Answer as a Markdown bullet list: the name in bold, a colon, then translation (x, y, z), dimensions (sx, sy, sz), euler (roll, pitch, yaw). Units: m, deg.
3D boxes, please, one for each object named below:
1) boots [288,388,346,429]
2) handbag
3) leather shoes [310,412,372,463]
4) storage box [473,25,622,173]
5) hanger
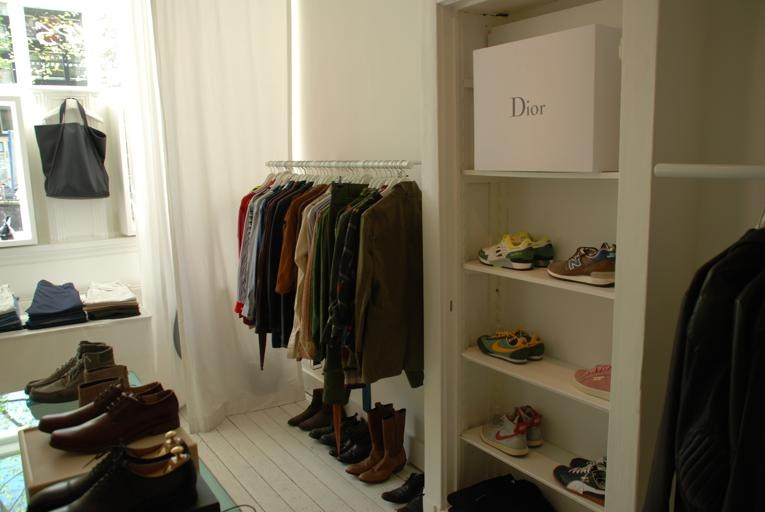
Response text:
- **boots**: translation (-0.411, 1.107, 4.099), dimensions (0.509, 0.362, 0.200), euler (3, -4, -30)
- **handbag**: translation (-2.472, -0.844, 4.443), dimensions (0.476, 0.808, 0.168), euler (-9, 13, -30)
- **leather shoes**: translation (-0.219, 1.163, 3.595), dimensions (0.306, 0.112, 0.241), euler (-4, 7, -44)
- **storage box**: translation (0.743, -0.673, 2.437), dimensions (0.227, 0.629, 0.700), euler (-6, 7, -44)
- **hanger**: translation (-0.264, -0.531, 3.530), dimensions (0.457, 0.168, 1.388), euler (-11, 14, -39)
